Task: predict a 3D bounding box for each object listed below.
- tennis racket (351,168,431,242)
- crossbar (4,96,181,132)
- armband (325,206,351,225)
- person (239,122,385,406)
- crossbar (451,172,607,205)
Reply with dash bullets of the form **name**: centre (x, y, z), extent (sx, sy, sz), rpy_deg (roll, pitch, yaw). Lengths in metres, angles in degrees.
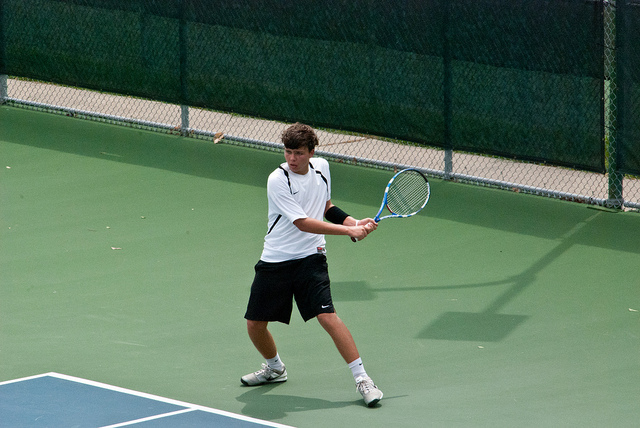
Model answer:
- **tennis racket**: centre (0.908, -0.137, 8.752), extent (1.328, 0.528, 0.082), rpy_deg (-37, 18, -22)
- **crossbar**: centre (-4.038, -1.727, 13.581), extent (3.821, 0.592, 0.147), rpy_deg (10, 8, 9)
- **armband**: centre (0.175, 0.011, 7.819), extent (0.142, 0.101, 0.234), rpy_deg (-25, 38, -33)
- **person**: centre (-0.138, 0.512, 7.549), extent (1.329, 2.744, 0.811), rpy_deg (-4, -6, 7)
- **crossbar**: centre (2.971, -0.321, 11.034), extent (2.911, 0.135, 0.116), rpy_deg (8, -26, -21)
